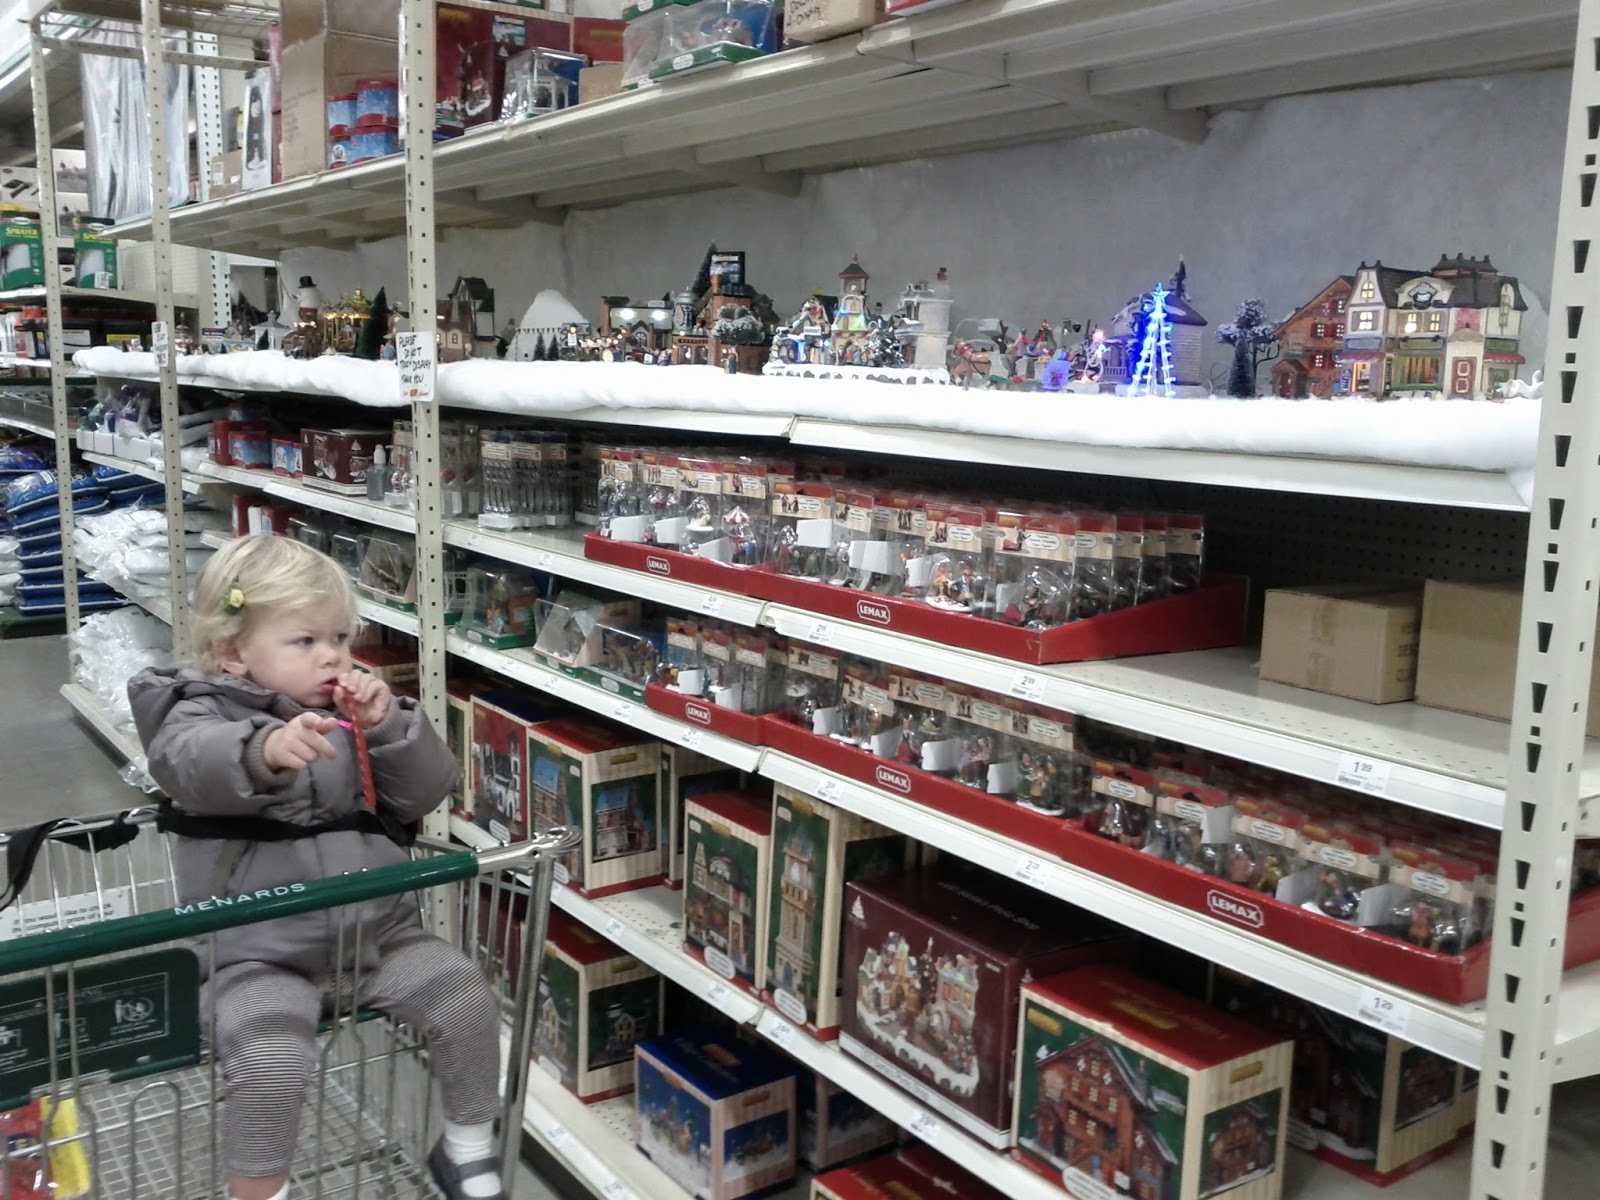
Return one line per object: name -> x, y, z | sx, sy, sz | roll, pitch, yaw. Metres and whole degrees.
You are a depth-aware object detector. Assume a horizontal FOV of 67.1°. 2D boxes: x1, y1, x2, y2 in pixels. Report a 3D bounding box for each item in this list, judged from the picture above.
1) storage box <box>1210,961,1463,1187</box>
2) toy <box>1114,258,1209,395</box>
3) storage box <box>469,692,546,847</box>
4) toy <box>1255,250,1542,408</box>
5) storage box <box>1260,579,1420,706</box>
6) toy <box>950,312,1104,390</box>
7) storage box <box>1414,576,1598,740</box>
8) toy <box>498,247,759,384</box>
storage box -> 0.882, 0.672, 2.006 | 0.212, 0.286, 0.382 | -10, 15, -37
toy -> 0.561, -0.459, 2.033 | 0.158, 0.273, 0.166 | -8, 15, -27
storage box -> -0.741, 0.436, 3.050 | 0.107, 0.348, 0.290 | -4, 22, -25
toy -> 0.886, -0.359, 1.725 | 0.267, 0.175, 0.268 | -11, 17, -35
storage box -> 0.833, 0.046, 1.865 | 0.175, 0.119, 0.172 | 15, 18, 42
toy -> 0.425, -0.418, 2.143 | 0.162, 0.119, 0.285 | -4, 12, -34
storage box -> 0.968, 0.077, 1.696 | 0.192, 0.157, 0.200 | 2, 4, -11
toy -> -0.423, -0.718, 3.093 | 0.962, 0.371, 0.298 | 10, 15, 36
